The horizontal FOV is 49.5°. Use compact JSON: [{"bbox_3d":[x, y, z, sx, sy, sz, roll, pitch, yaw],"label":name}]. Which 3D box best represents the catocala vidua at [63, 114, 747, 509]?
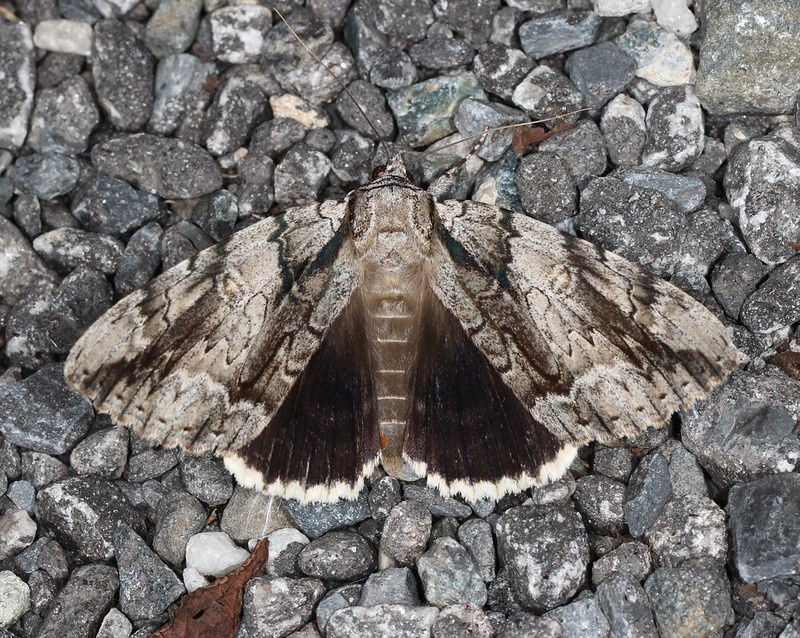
[{"bbox_3d":[-0.008,0.184,5.485,3.652,0.507,1.921,-1,86,1],"label":"catocala vidua"}]
